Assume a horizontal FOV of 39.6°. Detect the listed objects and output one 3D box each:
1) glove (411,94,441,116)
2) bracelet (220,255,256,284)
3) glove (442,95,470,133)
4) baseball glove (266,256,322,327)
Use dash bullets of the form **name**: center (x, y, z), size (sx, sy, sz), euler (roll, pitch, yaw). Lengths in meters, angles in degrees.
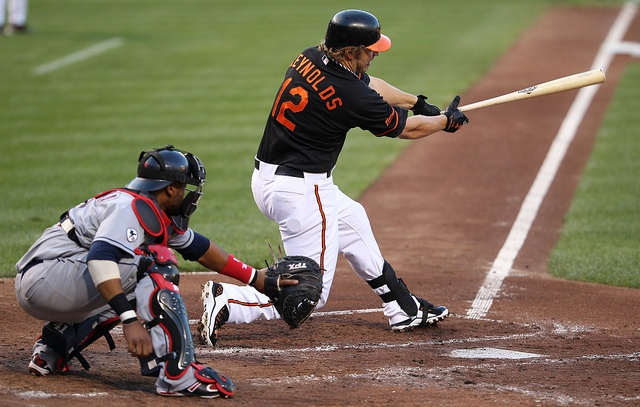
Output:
- **glove**: center (1.157, -1.042, 9.800), size (0.338, 0.128, 0.185), euler (22, 27, -2)
- **bracelet**: center (-0.853, 0.710, 9.280), size (0.443, 0.217, 0.264), euler (20, 5, 7)
- **glove**: center (1.469, -0.929, 9.503), size (0.204, 0.380, 0.286), euler (-16, 60, 0)
- **baseball glove**: center (-0.222, 0.886, 8.954), size (0.612, 0.596, 0.462), euler (7, -8, 8)
